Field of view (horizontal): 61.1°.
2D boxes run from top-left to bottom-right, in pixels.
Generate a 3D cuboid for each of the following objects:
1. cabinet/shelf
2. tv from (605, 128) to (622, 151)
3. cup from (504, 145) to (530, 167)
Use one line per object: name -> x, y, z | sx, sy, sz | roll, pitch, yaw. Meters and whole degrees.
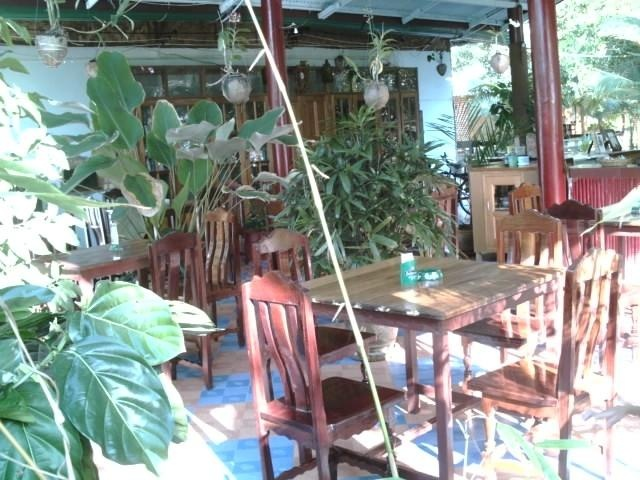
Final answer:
cabinet/shelf -> 2.639, -0.451, 6.693 | 1.207, 1.823, 1.012 | 1, 6, 26
tv -> 3.147, -1.066, 5.810 | 0.135, 0.234, 0.421 | 1, 8, 28
cup -> 2.355, -0.994, 6.488 | 0.187, 0.295, 0.299 | -1, 0, 38
